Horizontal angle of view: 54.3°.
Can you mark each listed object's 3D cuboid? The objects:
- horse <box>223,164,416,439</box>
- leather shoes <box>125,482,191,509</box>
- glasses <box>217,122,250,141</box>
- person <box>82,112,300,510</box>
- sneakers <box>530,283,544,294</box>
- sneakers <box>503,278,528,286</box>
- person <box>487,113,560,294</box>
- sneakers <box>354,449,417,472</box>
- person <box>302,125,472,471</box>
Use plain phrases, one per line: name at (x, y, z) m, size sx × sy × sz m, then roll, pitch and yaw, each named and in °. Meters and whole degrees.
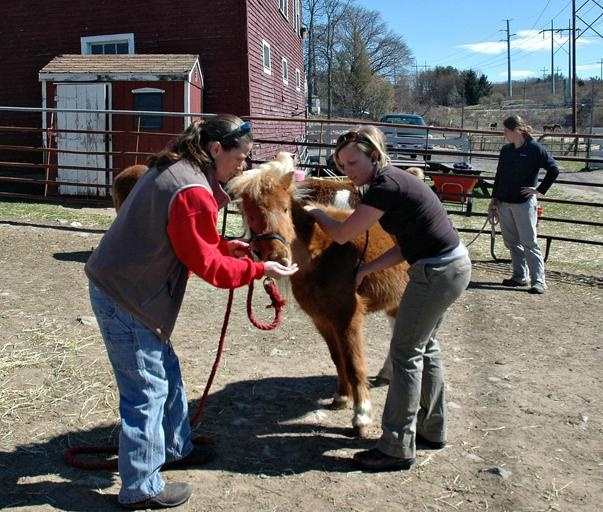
horse at (0.301, 0.312, 4.187) m, size 0.576 × 1.649 × 2.139 m, roll 0°, pitch -3°, yaw 40°
leather shoes at (-0.762, 1.274, 3.160) m, size 0.329 × 0.132 × 0.124 m, roll -5°, pitch 9°, yaw -25°
glasses at (-0.345, -0.664, 3.031) m, size 0.125 × 0.036 × 0.106 m, roll -23°, pitch 13°, yaw -11°
person at (-0.658, 0.318, 3.041) m, size 0.828 × 2.057 × 0.397 m, roll -4°, pitch 9°, yaw -20°
sneakers at (2.743, 0.384, 6.826) m, size 0.097 × 0.102 × 0.263 m, roll -1°, pitch -5°, yaw 19°
sneakers at (2.568, 0.333, 7.082) m, size 0.309 × 0.125 × 0.111 m, roll 0°, pitch 18°, yaw 5°
person at (2.629, -0.628, 6.990) m, size 0.771 × 2.067 × 0.504 m, roll 4°, pitch 10°, yaw 30°
sneakers at (0.479, 1.213, 3.463) m, size 0.363 × 0.158 × 0.144 m, roll 3°, pitch 8°, yaw -3°
person at (0.574, 0.260, 3.505) m, size 0.822 × 2.011 × 0.491 m, roll 1°, pitch 9°, yaw 15°
